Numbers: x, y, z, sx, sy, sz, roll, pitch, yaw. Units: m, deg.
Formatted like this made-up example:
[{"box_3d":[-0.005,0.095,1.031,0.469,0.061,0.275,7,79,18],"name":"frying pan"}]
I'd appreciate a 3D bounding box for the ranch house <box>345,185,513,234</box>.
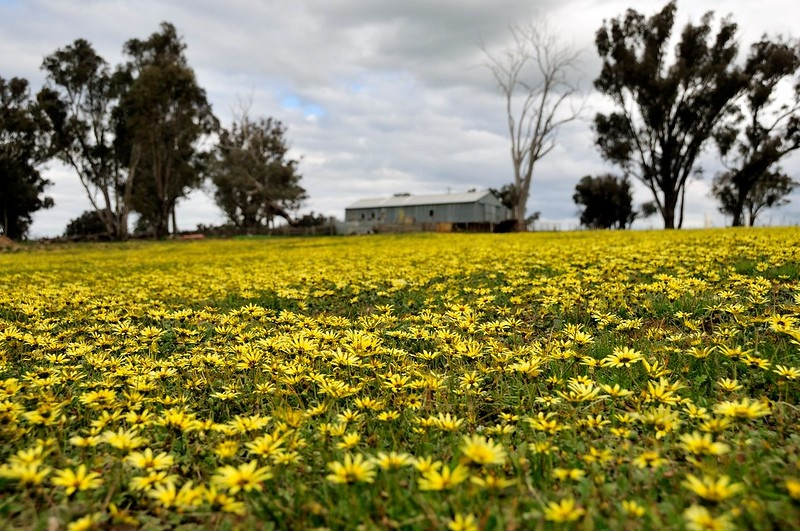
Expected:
[{"box_3d":[2.048,-4.411,49.595,12.105,3.081,14.093,-2,6,2],"name":"ranch house"}]
